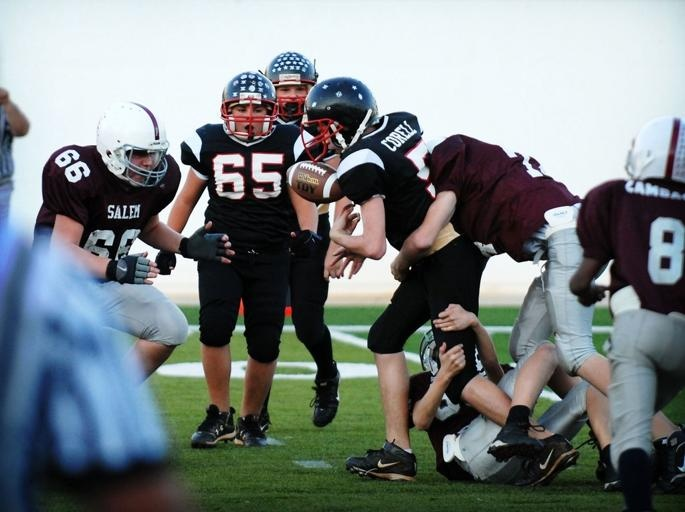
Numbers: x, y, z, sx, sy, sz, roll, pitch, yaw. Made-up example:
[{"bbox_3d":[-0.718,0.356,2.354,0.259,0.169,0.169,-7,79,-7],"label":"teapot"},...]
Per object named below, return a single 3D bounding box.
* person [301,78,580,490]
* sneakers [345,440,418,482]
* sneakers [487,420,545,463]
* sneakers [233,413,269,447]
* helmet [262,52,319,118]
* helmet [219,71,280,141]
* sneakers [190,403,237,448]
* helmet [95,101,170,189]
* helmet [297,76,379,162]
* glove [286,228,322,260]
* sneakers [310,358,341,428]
[{"bbox_3d":[0.505,0.113,3.548,1.350,2.178,0.890,-5,-9,-3],"label":"person"},{"bbox_3d":[0.146,0.756,2.689,0.260,0.148,0.109,8,-29,6],"label":"sneakers"},{"bbox_3d":[0.553,0.595,2.342,0.222,0.086,0.105,0,18,1],"label":"sneakers"},{"bbox_3d":[-0.407,0.774,3.195,0.123,0.126,0.210,1,6,-18],"label":"sneakers"},{"bbox_3d":[-0.266,-1.044,4.354,0.291,0.386,0.396,5,25,16],"label":"helmet"},{"bbox_3d":[-0.435,-0.710,3.392,0.242,0.315,0.343,1,15,-9],"label":"helmet"},{"bbox_3d":[-0.560,0.747,3.164,0.095,0.170,0.251,4,6,17],"label":"sneakers"},{"bbox_3d":[-0.861,-0.465,2.962,0.341,0.297,0.244,28,21,20],"label":"helmet"},{"bbox_3d":[0.005,-0.527,2.791,0.327,0.310,0.255,-1,9,9],"label":"helmet"},{"bbox_3d":[-0.174,-0.062,3.388,0.130,0.058,0.131,-6,-17,10],"label":"glove"},{"bbox_3d":[-0.072,0.710,3.598,0.088,0.278,0.111,-7,-40,28],"label":"sneakers"}]
